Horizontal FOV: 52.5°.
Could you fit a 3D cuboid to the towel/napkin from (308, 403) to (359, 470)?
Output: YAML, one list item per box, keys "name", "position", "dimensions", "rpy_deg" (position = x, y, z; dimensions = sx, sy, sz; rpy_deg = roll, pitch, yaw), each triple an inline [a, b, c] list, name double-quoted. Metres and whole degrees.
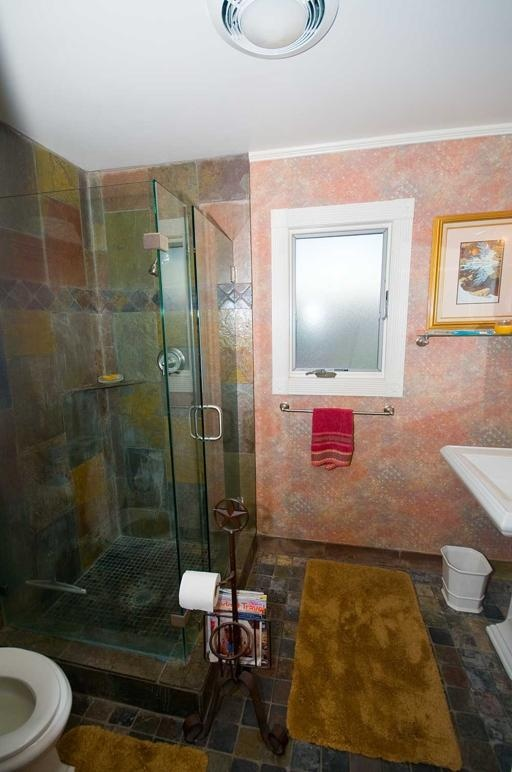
- name: "towel/napkin"
  position: [0.384, 0.242, 2.515]
  dimensions: [0.211, 0.296, 0.076]
  rpy_deg: [1, 12, 7]

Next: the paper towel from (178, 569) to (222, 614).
- name: "paper towel"
  position: [-0.181, 0.662, 1.723]
  dimensions: [0.149, 0.133, 0.122]
  rpy_deg: [-2, 1, 18]

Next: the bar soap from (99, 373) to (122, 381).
- name: "bar soap"
  position: [-0.606, -0.030, 2.153]
  dimensions: [0.129, 0.045, 0.012]
  rpy_deg: [5, 14, 27]

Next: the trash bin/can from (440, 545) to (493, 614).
- name: "trash bin/can"
  position: [0.960, 0.891, 2.375]
  dimensions: [0.184, 0.193, 0.280]
  rpy_deg: [0, -1, 14]
